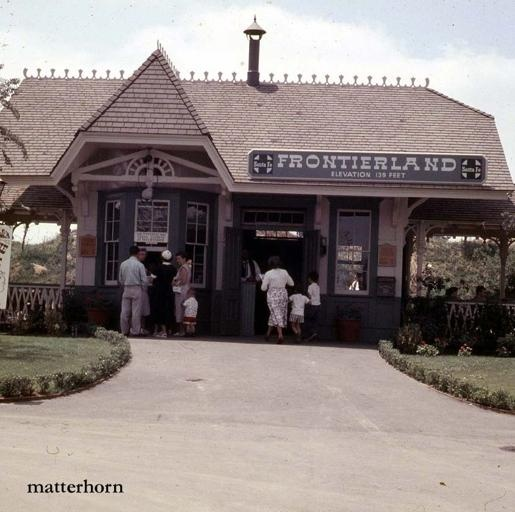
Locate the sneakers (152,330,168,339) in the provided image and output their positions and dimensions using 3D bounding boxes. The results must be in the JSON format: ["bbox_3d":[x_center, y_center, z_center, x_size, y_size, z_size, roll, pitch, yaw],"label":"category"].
[{"bbox_3d":[-2.272,1.848,16.504,0.344,0.170,0.139,3,-2,43],"label":"sneakers"}]

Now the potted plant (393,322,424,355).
[{"bbox_3d":[3.247,1.795,15.151,0.532,0.461,0.975,2,-1,12],"label":"potted plant"}]

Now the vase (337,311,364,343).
[{"bbox_3d":[2.407,1.880,18.408,0.610,0.814,0.652,0,-11,2],"label":"vase"}]

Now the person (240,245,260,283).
[{"bbox_3d":[-0.170,0.282,19.024,0.519,0.776,1.115,2,-1,1],"label":"person"}]

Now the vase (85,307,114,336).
[{"bbox_3d":[-3.818,1.588,17.019,0.550,0.697,0.530,1,-7,-7],"label":"vase"}]

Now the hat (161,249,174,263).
[{"bbox_3d":[-2.111,0.009,16.401,0.190,0.291,0.260,0,1,-3],"label":"hat"}]
